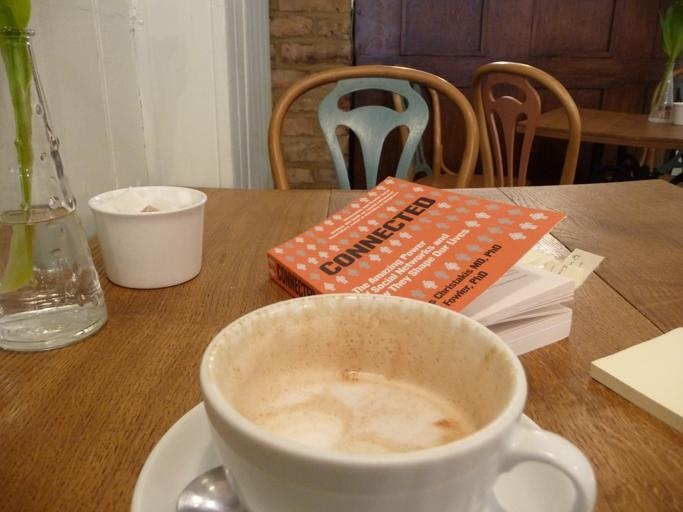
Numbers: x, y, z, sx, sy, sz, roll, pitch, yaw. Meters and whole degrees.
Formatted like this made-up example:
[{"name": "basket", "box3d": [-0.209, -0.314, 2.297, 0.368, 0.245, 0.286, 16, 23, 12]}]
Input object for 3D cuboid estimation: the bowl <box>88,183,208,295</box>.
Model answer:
[{"name": "bowl", "box3d": [-0.224, -0.017, 0.640, 0.120, 0.095, 0.122, 3, 24, -1]}]
